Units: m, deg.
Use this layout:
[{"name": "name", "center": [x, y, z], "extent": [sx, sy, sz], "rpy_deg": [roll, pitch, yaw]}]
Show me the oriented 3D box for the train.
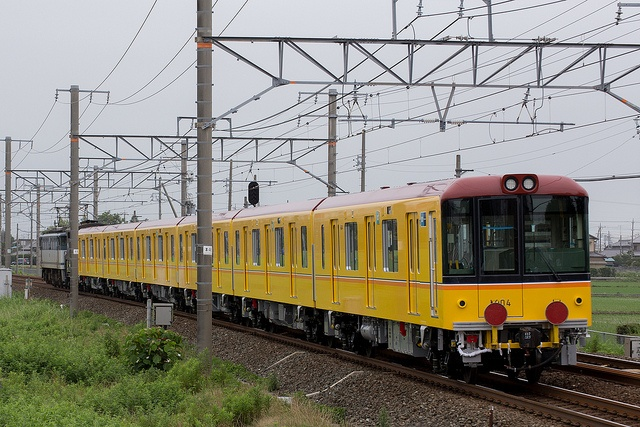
[{"name": "train", "center": [0.379, 1.916, 25.290], "extent": [3.431, 3.963, 16.730], "rpy_deg": [-12, 3, -33]}]
